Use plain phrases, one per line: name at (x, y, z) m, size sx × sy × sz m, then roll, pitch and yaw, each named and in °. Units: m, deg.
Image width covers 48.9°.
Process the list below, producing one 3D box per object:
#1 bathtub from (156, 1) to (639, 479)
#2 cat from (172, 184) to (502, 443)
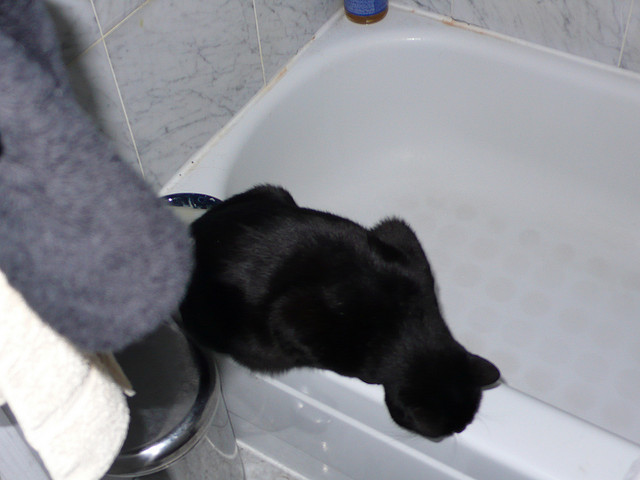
bathtub at (0.252, 0.029, 1.763) m, size 1.099 × 0.392 × 0.843 m, roll 23°, pitch 60°, yaw 23°
cat at (0.080, 0.182, 1.286) m, size 0.366 × 0.617 × 0.219 m, roll -38°, pitch 83°, yaw 0°
